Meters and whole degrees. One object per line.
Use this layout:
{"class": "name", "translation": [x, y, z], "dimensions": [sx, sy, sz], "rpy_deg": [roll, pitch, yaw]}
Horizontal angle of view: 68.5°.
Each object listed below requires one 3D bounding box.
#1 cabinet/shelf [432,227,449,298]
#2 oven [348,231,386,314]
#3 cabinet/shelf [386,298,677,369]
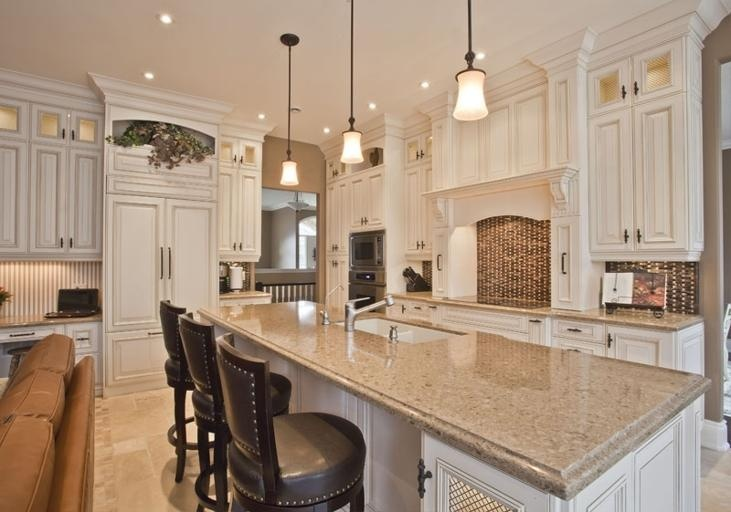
{"class": "cabinet/shelf", "translation": [0.883, 0.075, 6.254], "dimensions": [0.092, 0.561, 0.267], "rpy_deg": [0, 0, -39]}
{"class": "oven", "translation": [0.117, 0.217, 7.102], "dimensions": [0.618, 1.053, 0.432], "rpy_deg": [2, 4, 41]}
{"class": "cabinet/shelf", "translation": [1.539, 0.706, 5.291], "dimensions": [2.662, 0.509, 0.185], "rpy_deg": [-1, -1, 44]}
